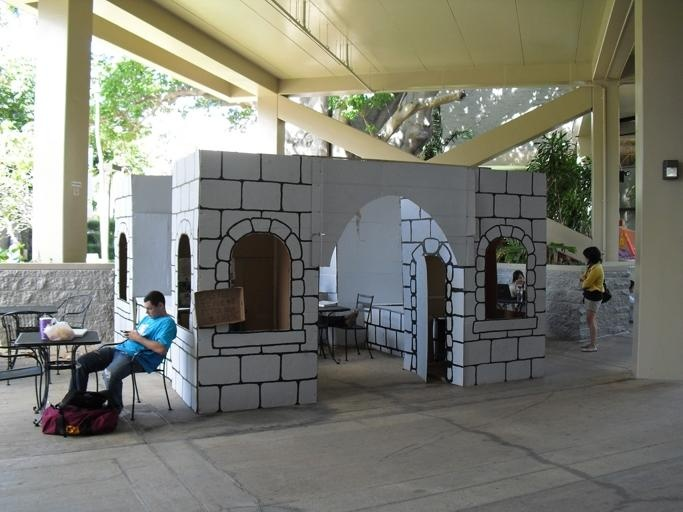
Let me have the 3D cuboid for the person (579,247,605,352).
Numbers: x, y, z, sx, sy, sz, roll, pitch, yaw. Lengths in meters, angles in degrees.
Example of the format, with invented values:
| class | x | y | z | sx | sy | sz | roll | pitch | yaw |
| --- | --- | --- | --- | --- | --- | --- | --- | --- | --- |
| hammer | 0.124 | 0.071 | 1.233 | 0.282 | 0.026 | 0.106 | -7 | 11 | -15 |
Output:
| class | x | y | z | sx | sy | sz | roll | pitch | yaw |
| --- | --- | --- | --- | --- | --- | --- | --- | --- | --- |
| person | 4.891 | 0.821 | 9.893 | 0.402 | 2.006 | 1.432 | 2 | 3 | 26 |

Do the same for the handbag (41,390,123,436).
| class | x | y | z | sx | sy | sz | roll | pitch | yaw |
| --- | --- | --- | --- | --- | --- | --- | --- | --- | --- |
| handbag | -2.784 | 1.700 | 5.462 | 0.582 | 0.296 | 0.493 | 0 | 4 | -8 |

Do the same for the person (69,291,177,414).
| class | x | y | z | sx | sy | sz | roll | pitch | yaw |
| --- | --- | --- | --- | --- | --- | --- | --- | --- | --- |
| person | -2.573 | 1.130 | 6.043 | 0.737 | 1.382 | 1.077 | 10 | 2 | 39 |

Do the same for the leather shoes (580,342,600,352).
| class | x | y | z | sx | sy | sz | roll | pitch | yaw |
| --- | --- | --- | --- | --- | --- | --- | --- | --- | --- |
| leather shoes | 4.807 | 1.761 | 9.745 | 0.499 | 0.216 | 0.191 | 4 | -5 | -21 |

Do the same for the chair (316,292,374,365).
| class | x | y | z | sx | sy | sz | roll | pitch | yaw |
| --- | --- | --- | --- | --- | --- | --- | --- | --- | --- |
| chair | 0.105 | 1.464 | 9.985 | 1.105 | 1.726 | 0.985 | 3 | -4 | -36 |

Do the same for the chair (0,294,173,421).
| class | x | y | z | sx | sy | sz | roll | pitch | yaw |
| --- | --- | --- | --- | --- | --- | --- | --- | --- | --- |
| chair | -2.775 | 1.140 | 5.977 | 1.558 | 1.379 | 0.813 | -1 | 3 | -22 |
